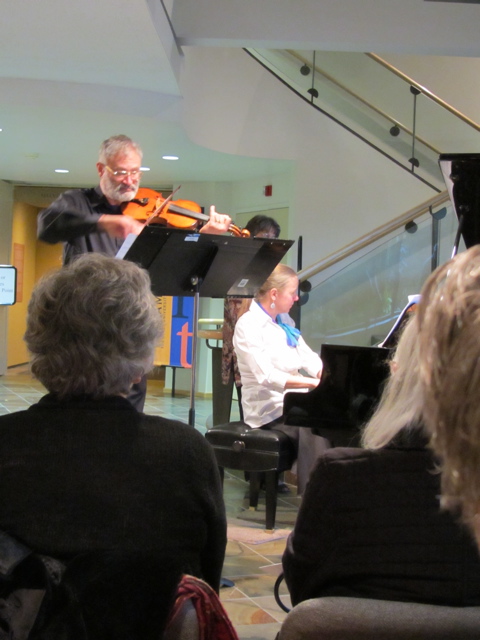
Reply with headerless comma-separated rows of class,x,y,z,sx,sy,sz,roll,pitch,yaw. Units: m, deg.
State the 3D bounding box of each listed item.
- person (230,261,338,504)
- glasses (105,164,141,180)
person,0.313,0.381,3.291,0.797,1.230,0.515,7,14,7
glasses,-0.491,-0.638,2.690,0.086,0.060,0.186,2,1,41
